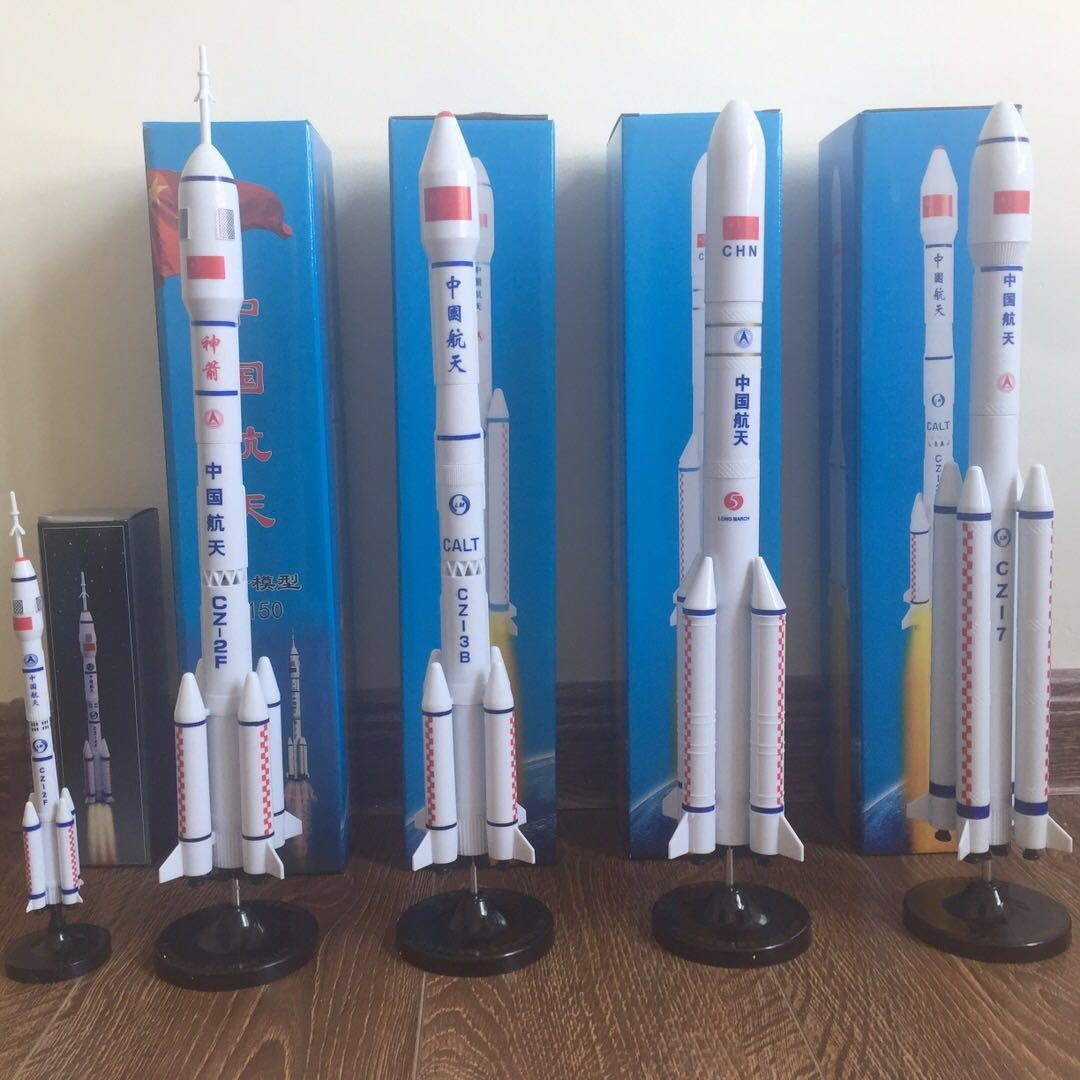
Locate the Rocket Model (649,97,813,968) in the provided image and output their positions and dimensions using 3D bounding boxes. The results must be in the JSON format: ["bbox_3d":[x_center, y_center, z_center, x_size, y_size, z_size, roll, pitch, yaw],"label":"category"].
[{"bbox_3d":[0.358,-0.007,3.115,0.348,1.834,0.308,-4,4,-2],"label":"Rocket Model"}]

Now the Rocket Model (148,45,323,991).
[{"bbox_3d":[-0.740,-0.052,3.082,0.353,1.979,0.355,-6,5,-19],"label":"Rocket Model"}]

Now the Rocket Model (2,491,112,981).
[{"bbox_3d":[-1.099,0.417,3.091,0.232,1.033,0.260,-8,6,-39],"label":"Rocket Model"}]
